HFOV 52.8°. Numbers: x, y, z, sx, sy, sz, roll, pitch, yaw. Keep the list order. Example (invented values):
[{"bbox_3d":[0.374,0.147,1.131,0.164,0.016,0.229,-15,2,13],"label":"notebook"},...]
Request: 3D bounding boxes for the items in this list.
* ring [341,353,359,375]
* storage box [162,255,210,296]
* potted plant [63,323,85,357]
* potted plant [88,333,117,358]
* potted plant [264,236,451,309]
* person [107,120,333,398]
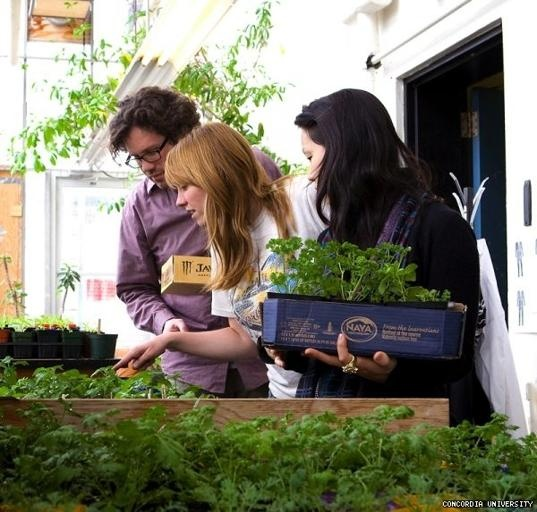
[{"bbox_3d":[0.146,0.176,0.986,0.017,0.034,0.029,-1,-5,41],"label":"ring"},{"bbox_3d":[-0.308,0.046,1.873,0.233,0.073,0.206,-2,-7,-3],"label":"storage box"},{"bbox_3d":[-1.117,0.447,3.178,0.161,0.189,0.167,1,-11,-8],"label":"potted plant"},{"bbox_3d":[-0.956,0.459,3.122,0.176,0.109,0.135,3,-13,-22],"label":"potted plant"},{"bbox_3d":[0.177,0.028,1.074,0.350,0.112,0.252,1,-2,16],"label":"potted plant"},{"bbox_3d":[-0.330,0.185,2.310,0.455,1.293,0.529,21,33,35],"label":"person"}]
